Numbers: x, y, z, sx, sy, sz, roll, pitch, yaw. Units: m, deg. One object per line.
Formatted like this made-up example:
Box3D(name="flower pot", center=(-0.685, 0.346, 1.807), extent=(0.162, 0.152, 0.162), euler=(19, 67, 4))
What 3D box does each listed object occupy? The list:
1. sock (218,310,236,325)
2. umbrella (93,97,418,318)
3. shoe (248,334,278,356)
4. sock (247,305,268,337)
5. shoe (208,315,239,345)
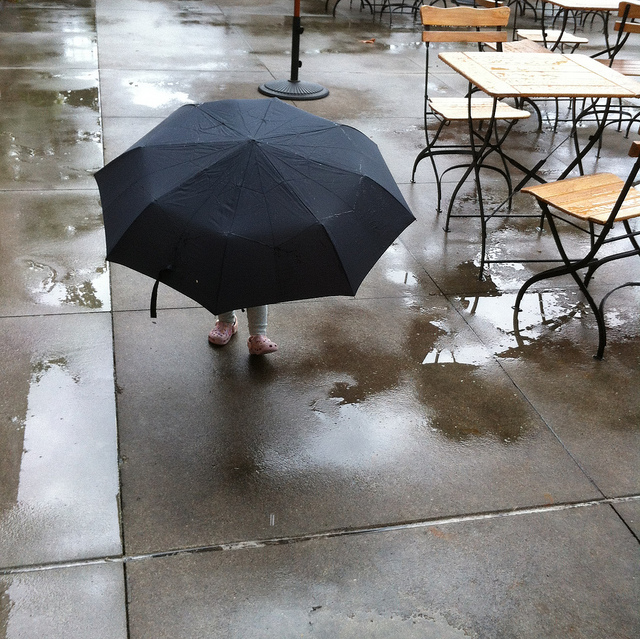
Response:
Box3D(name="sock", center=(-0.493, -0.008, 3.362), extent=(0.100, 0.077, 0.121), euler=(-1, 7, -3))
Box3D(name="umbrella", center=(-0.291, -0.503, 2.434), extent=(1.039, 0.604, 0.948), euler=(-13, 63, -17))
Box3D(name="shoe", center=(-0.301, 0.133, 3.330), extent=(0.084, 0.066, 0.156), euler=(-12, 4, -33))
Box3D(name="sock", center=(-0.320, 0.007, 3.219), extent=(0.099, 0.132, 0.096), euler=(-18, 35, -10))
Box3D(name="shoe", center=(-0.527, 0.056, 3.422), extent=(0.087, 0.071, 0.174), euler=(15, 37, 8))
